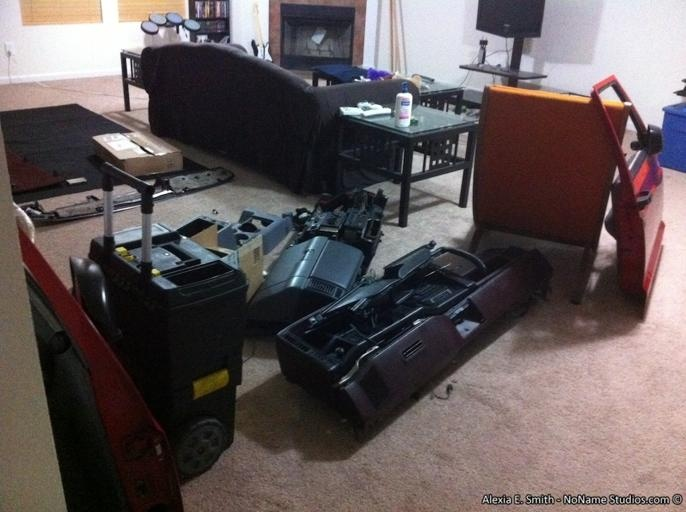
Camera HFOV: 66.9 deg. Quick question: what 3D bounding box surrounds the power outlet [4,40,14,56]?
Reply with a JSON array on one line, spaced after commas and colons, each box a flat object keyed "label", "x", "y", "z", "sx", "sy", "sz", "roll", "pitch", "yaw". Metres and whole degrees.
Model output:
[{"label": "power outlet", "x": -4.114, "y": -2.558, "z": 6.396, "sx": 0.116, "sy": 0.196, "sz": 0.099, "roll": -19, "pitch": 41, "yaw": -38}]

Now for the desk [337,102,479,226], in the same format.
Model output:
[{"label": "desk", "x": 0.434, "y": -0.807, "z": 3.942, "sx": 0.955, "sy": 0.881, "sz": 0.939, "roll": -24, "pitch": 39, "yaw": -34}]

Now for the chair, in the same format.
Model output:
[{"label": "chair", "x": 1.214, "y": -0.426, "z": 3.160, "sx": 0.761, "sy": 1.010, "sz": 0.846, "roll": 9, "pitch": 10, "yaw": 16}]
